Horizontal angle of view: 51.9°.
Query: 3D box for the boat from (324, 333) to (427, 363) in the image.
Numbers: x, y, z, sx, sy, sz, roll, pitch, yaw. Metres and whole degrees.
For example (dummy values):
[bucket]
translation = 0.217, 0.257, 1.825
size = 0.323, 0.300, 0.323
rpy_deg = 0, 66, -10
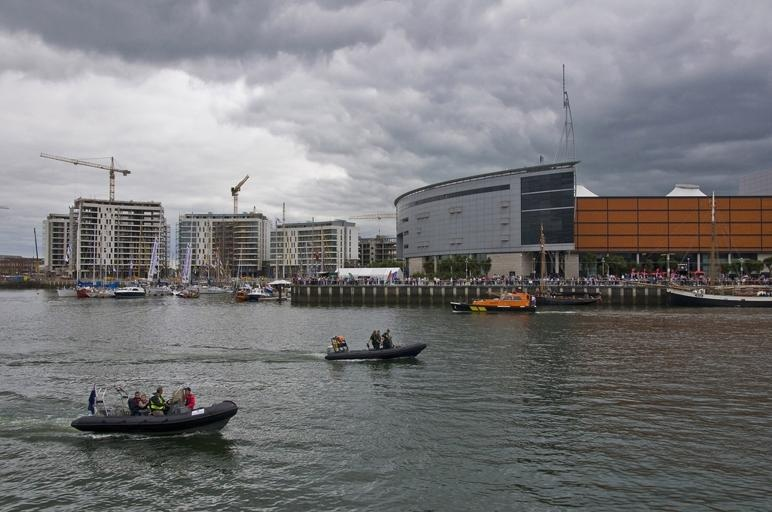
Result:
[boat]
translation = -1.186, 10.813, 89.399
size = 9.118, 2.424, 4.072
rpy_deg = -2, -3, -4
